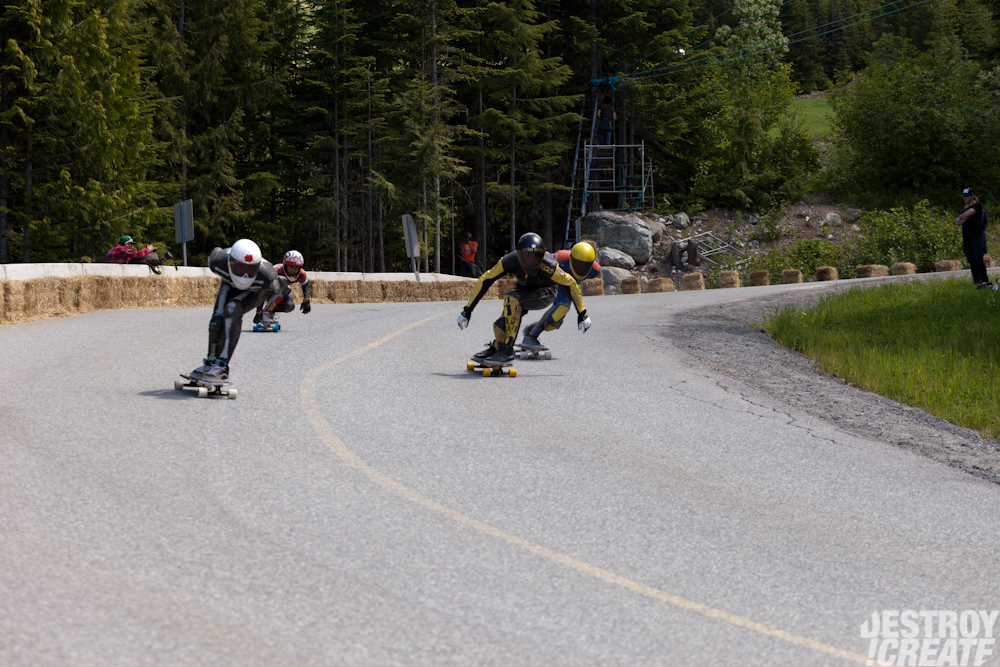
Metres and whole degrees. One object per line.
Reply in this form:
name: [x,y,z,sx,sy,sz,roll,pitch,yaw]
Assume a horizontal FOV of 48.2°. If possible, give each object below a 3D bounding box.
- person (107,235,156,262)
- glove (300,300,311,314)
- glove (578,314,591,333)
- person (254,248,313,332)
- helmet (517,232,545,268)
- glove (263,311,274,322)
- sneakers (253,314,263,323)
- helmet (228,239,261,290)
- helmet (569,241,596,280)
person: [-9.121,-1.983,27.282,0.757,0.640,1.000,21,21,39]
glove: [-3.834,-0.538,22.264,0.261,0.259,0.071,9,-4,4]
glove: [1.268,-0.145,16.454,0.181,0.074,0.247,-26,8,1]
person: [-4.172,-0.826,21.503,1.018,1.645,1.124,10,3,-4]
helmet: [0.473,-1.202,16.235,0.401,0.519,0.406,-2,6,1]
glove: [-4.327,-0.329,21.022,0.055,0.166,0.176,-7,-10,32]
sneakers: [-4.523,-0.298,20.948,0.133,0.186,0.074,2,-2,-5]
helmet: [-3.192,-0.866,14.005,0.412,0.632,0.322,-3,6,-10]
helmet: [1.271,-1.161,17.215,0.405,0.533,0.495,1,12,-4]
